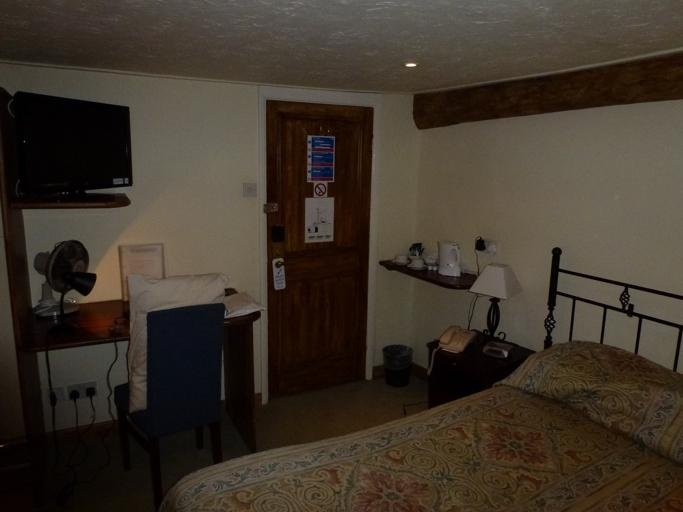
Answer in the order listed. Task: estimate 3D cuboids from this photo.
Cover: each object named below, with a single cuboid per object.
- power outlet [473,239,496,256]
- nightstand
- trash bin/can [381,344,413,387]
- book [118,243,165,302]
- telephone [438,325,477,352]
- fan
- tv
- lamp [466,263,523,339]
[{"bbox_3d":[1.124,-0.063,4.050,0.132,0.107,0.107,3,4,32],"label":"power outlet"},{"bbox_3d":[0.960,0.776,3.540,0.311,0.598,0.427,-8,18,-29],"label":"nightstand"},{"bbox_3d":[0.513,0.975,4.736,0.304,0.324,0.299,5,9,36],"label":"trash bin/can"},{"bbox_3d":[-1.364,0.108,3.507,0.383,0.492,0.051,-3,9,-26],"label":"book"},{"bbox_3d":[0.870,0.606,3.876,0.159,0.061,0.221,5,23,35],"label":"telephone"},{"bbox_3d":[-1.889,0.138,3.472,0.286,0.502,0.342,7,7,7],"label":"fan"},{"bbox_3d":[-1.733,-0.696,3.294,0.138,0.619,0.692,11,15,41],"label":"tv"},{"bbox_3d":[1.119,0.347,3.692,0.277,0.453,0.288,4,6,-14],"label":"lamp"}]
